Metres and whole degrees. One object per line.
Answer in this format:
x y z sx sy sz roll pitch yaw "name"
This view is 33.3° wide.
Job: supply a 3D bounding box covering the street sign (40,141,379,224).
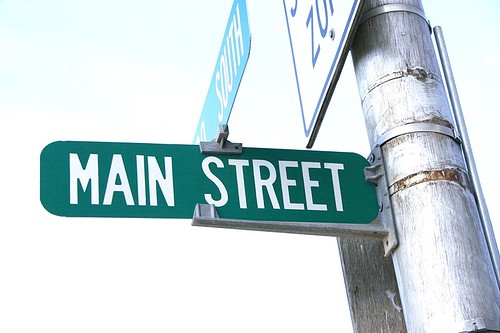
-0.153 0.064 3.192 1.307 0.322 0.099 2 -28 -12 "street sign"
